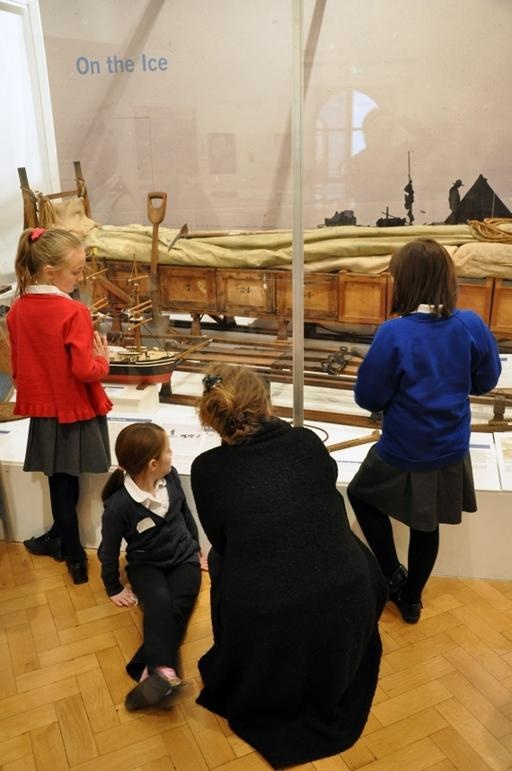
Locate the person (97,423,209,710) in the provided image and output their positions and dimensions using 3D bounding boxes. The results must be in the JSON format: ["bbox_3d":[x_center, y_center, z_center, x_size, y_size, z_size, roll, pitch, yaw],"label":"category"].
[{"bbox_3d":[-0.406,0.563,1.795,0.373,0.452,0.820,-4,25,-20],"label":"person"}]

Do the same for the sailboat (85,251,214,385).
[{"bbox_3d":[-0.511,-0.242,2.280,0.555,0.465,0.228,8,9,-24],"label":"sailboat"}]

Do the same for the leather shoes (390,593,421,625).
[{"bbox_3d":[0.535,0.789,1.923,0.047,0.054,0.135,-1,-1,-16],"label":"leather shoes"}]

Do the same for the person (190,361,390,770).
[{"bbox_3d":[0.049,0.454,1.405,0.517,0.979,0.355,0,12,12],"label":"person"}]

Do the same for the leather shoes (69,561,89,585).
[{"bbox_3d":[-0.713,0.754,2.189,0.043,0.050,0.125,-1,1,-29],"label":"leather shoes"}]

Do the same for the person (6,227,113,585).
[{"bbox_3d":[-0.754,0.112,2.107,0.479,1.367,0.273,3,13,24],"label":"person"}]
